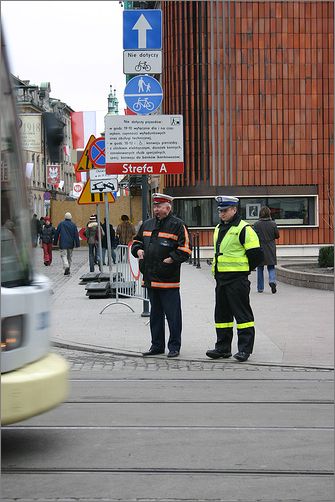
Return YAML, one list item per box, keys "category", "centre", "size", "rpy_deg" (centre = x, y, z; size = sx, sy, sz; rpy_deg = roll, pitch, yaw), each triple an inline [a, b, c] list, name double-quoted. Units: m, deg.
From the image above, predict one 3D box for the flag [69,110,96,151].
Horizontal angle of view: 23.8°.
- category: "flag"
  centre: [-2.527, -3.677, 23.545]
  size: [0.705, 1.195, 1.999]
  rpy_deg: [0, 2, -6]

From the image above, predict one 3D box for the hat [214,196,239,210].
- category: "hat"
  centre: [0.620, -0.492, 7.978]
  size: [0.157, 0.105, 0.180]
  rpy_deg: [-1, -3, 30]

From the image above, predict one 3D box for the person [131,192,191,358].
- category: "person"
  centre: [-0.071, 0.327, 8.237]
  size: [0.725, 1.530, 0.275]
  rpy_deg: [1, 2, 37]

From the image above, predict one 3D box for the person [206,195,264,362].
- category: "person"
  centre: [0.663, 0.277, 8.025]
  size: [0.467, 1.661, 0.634]
  rpy_deg: [-1, 2, -31]

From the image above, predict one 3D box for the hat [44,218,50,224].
- category: "hat"
  centre: [-3.575, -0.909, 23.301]
  size: [0.124, 0.171, 0.178]
  rpy_deg: [0, -27, -8]

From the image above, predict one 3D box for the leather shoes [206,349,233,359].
- category: "leather shoes"
  centre: [0.523, 1.057, 8.111]
  size: [0.245, 0.141, 0.095]
  rpy_deg: [9, -6, -17]

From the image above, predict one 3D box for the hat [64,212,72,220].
- category: "hat"
  centre: [-2.811, -0.920, 22.040]
  size: [0.237, 0.209, 0.375]
  rpy_deg: [4, 20, -7]

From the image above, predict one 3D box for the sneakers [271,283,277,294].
- category: "sneakers"
  centre: [1.932, 0.682, 14.429]
  size: [0.077, 0.251, 0.091]
  rpy_deg: [-4, 17, 7]

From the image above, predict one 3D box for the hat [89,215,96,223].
- category: "hat"
  centre: [-2.349, -1.003, 24.484]
  size: [0.188, 0.102, 0.313]
  rpy_deg: [-1, 6, -3]

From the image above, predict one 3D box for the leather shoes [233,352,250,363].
- category: "leather shoes"
  centre: [0.740, 1.055, 7.961]
  size: [0.147, 0.099, 0.173]
  rpy_deg: [0, 2, 9]

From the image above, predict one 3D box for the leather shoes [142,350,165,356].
- category: "leather shoes"
  centre: [-0.154, 1.063, 8.336]
  size: [0.232, 0.109, 0.083]
  rpy_deg: [4, -3, -22]
